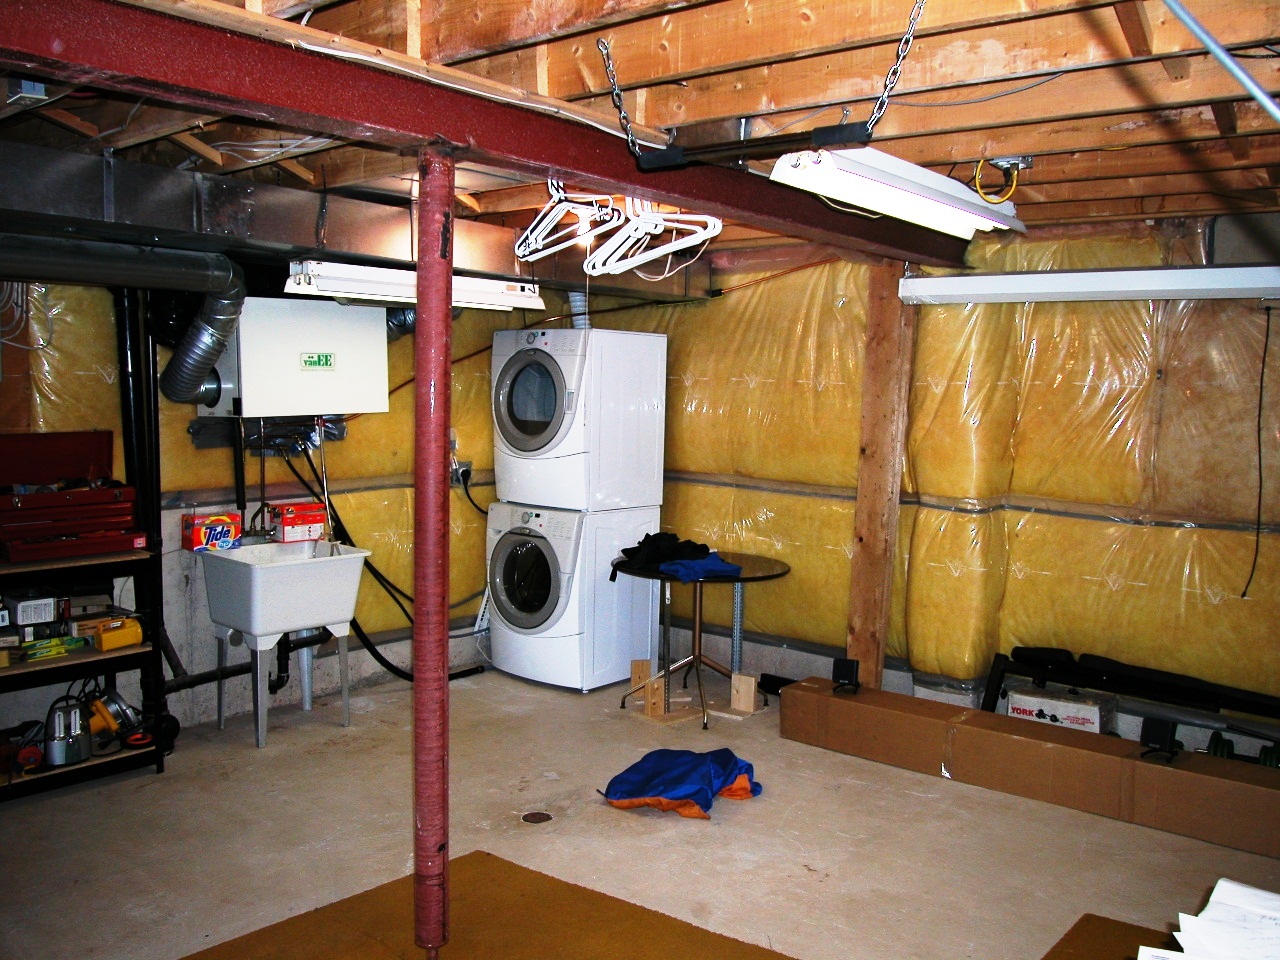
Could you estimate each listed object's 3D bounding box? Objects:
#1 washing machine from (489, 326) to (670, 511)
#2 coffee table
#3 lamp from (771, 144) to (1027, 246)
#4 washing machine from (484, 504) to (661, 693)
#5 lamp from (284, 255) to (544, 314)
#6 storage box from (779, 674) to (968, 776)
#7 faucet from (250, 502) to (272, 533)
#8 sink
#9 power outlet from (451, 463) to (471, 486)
[{"bbox_3d":[-0.391,-0.381,6.332,1.108,1.131,0.593,0,8,-8],"label":"washing machine"},{"bbox_3d":[0.392,0.917,6.204,1.099,0.938,1.234,5,9,24],"label":"coffee table"},{"bbox_3d":[0.921,-1.026,3.509,1.103,0.213,0.207,-5,10,-38],"label":"lamp"},{"bbox_3d":[-0.521,0.737,6.854,1.169,1.443,1.107,0,2,-37],"label":"washing machine"},{"bbox_3d":[-1.185,-1.018,5.212,0.549,0.200,1.398,6,9,34],"label":"lamp"},{"bbox_3d":[1.219,1.306,5.272,1.116,0.316,0.361,5,-4,33],"label":"storage box"},{"bbox_3d":[-2.203,0.211,5.693,0.128,0.168,0.189,-2,9,-20],"label":"faucet"},{"bbox_3d":[-1.943,0.620,5.450,0.585,0.452,0.768,3,2,43],"label":"sink"},{"bbox_3d":[-1.214,-0.044,6.716,0.096,0.261,0.095,1,26,-15],"label":"power outlet"}]
